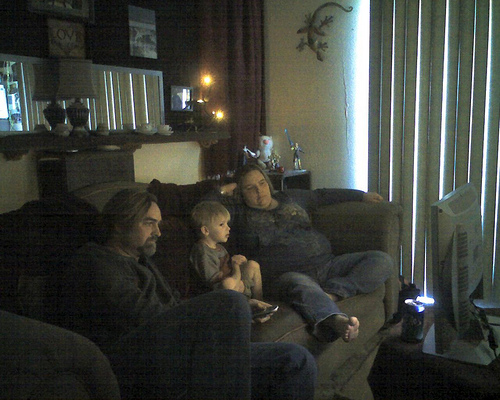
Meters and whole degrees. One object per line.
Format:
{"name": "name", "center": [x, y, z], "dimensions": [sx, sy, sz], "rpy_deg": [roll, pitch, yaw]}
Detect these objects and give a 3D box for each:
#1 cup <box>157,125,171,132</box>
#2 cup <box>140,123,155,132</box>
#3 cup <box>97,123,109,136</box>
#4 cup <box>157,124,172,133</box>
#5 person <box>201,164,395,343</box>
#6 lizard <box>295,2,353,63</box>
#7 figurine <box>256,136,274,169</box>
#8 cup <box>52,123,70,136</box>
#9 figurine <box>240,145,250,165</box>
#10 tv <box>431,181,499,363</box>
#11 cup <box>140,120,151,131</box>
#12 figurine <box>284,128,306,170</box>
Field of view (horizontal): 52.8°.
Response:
{"name": "cup", "center": [-0.369, -0.304, 2.119], "dimensions": [0.048, 0.027, 0.027], "rpy_deg": [-2, 12, -12]}
{"name": "cup", "center": [-0.414, -0.289, 1.985], "dimensions": [0.029, 0.025, 0.040], "rpy_deg": [-2, -4, 16]}
{"name": "cup", "center": [-0.496, -0.237, 1.704], "dimensions": [0.045, 0.045, 0.046], "rpy_deg": [0, 1, 0]}
{"name": "cup", "center": [-0.364, -0.307, 2.146], "dimensions": [0.039, 0.031, 0.054], "rpy_deg": [-3, -3, 44]}
{"name": "person", "center": [0.184, 0.159, 2.045], "dimensions": [0.740, 0.494, 0.628], "rpy_deg": [-8, 6, -44]}
{"name": "lizard", "center": [0.351, -0.925, 2.790], "dimensions": [0.305, 0.306, 0.072], "rpy_deg": [11, 34, 17]}
{"name": "figurine", "center": [0.073, -0.274, 2.769], "dimensions": [0.122, 0.202, 0.091], "rpy_deg": [-6, 6, -17]}
{"name": "cup", "center": [-0.502, -0.190, 1.332], "dimensions": [0.030, 0.041, 0.041], "rpy_deg": [9, 14, 28]}
{"name": "figurine", "center": [-0.028, -0.232, 2.619], "dimensions": [0.048, 0.086, 0.034], "rpy_deg": [0, 12, 0]}
{"name": "tv", "center": [0.513, 0.154, 1.183], "dimensions": [0.178, 0.367, 0.237], "rpy_deg": [4, 13, 20]}
{"name": "cup", "center": [-0.414, -0.300, 1.998], "dimensions": [0.051, 0.052, 0.053], "rpy_deg": [0, 8, 0]}
{"name": "figurine", "center": [0.258, -0.291, 2.895], "dimensions": [0.129, 0.236, 0.278], "rpy_deg": [1, 12, 4]}
